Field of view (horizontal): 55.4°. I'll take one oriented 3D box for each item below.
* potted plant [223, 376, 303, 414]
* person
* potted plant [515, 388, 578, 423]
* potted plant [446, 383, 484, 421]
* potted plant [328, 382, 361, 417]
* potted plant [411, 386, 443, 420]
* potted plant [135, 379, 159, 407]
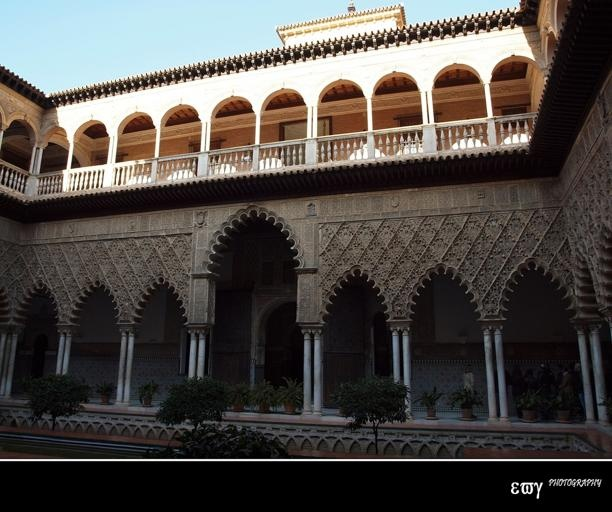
[{"bbox_3d":[-0.797,2.805,11.520,1.520,0.610,0.366,-5,-14,17],"label":"potted plant"},{"bbox_3d":[4.750,2.622,11.261,1.052,0.519,1.423,-3,-5,6],"label":"person"},{"bbox_3d":[4.277,2.724,10.530,0.873,0.544,1.016,18,-27,-40],"label":"potted plant"},{"bbox_3d":[3.017,2.849,10.825,0.431,0.451,0.429,-2,-38,37],"label":"potted plant"},{"bbox_3d":[0.637,2.206,9.001,0.277,0.512,0.657,2,-14,-11],"label":"potted plant"},{"bbox_3d":[2.408,2.843,11.131,0.451,0.478,0.491,14,-20,27],"label":"potted plant"},{"bbox_3d":[-3.491,3.033,12.771,0.383,0.502,1.149,3,-14,-17],"label":"potted plant"}]
